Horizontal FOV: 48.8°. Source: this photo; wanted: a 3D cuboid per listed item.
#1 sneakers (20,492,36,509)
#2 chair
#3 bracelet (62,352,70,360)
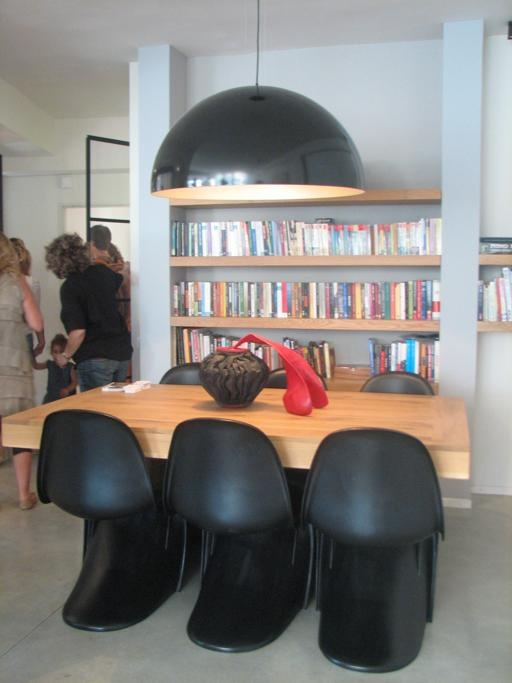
[{"bbox_3d":[-1.309,0.916,3.259,0.047,0.048,0.124,1,7,1],"label":"sneakers"},{"bbox_3d":[0.094,0.372,2.128,1.291,1.128,0.825,0,7,17],"label":"chair"},{"bbox_3d":[-1.245,0.090,3.710,0.064,0.058,0.016,13,15,39],"label":"bracelet"}]
